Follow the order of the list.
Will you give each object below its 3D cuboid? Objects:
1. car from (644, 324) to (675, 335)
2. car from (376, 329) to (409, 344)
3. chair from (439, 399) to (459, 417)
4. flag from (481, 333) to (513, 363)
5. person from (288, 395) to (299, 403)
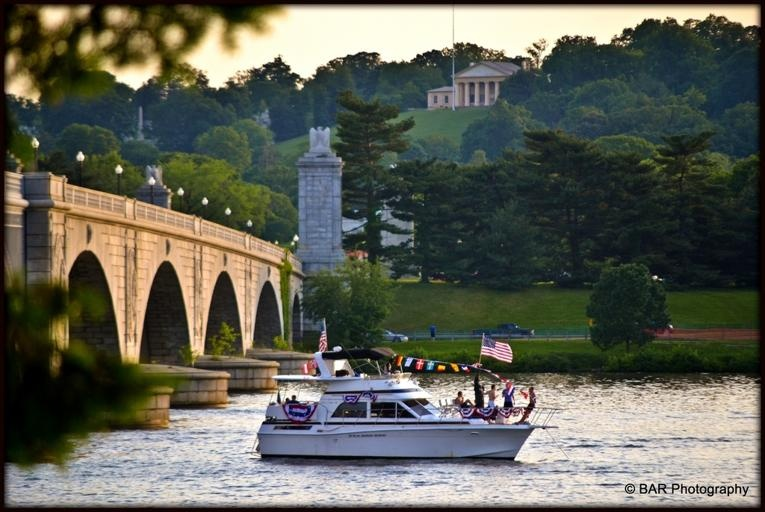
[{"bbox_3d":[28.132,7.616,205.152,2.904,0.913,1.557,-1,0,5],"label":"car"},{"bbox_3d":[0.923,8.346,212.433,2.759,0.824,1.225,-2,0,24],"label":"car"},{"bbox_3d":[5.105,11.753,155.893,1.404,0.609,1.349,2,6,0],"label":"chair"},{"bbox_3d":[9.755,7.990,174.012,3.910,2.682,0.282,8,-22,28],"label":"flag"},{"bbox_3d":[-7.135,11.290,159.419,1.171,0.605,1.791,1,2,-3],"label":"person"}]
